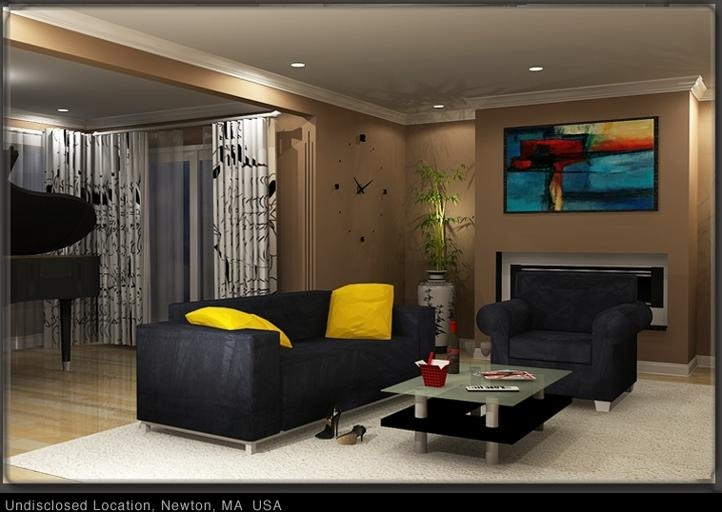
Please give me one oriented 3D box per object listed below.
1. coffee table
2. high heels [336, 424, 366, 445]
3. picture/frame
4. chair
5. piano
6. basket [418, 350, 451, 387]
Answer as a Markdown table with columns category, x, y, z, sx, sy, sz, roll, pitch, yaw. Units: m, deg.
| category | x | y | z | sx | sy | sz | roll | pitch | yaw |
| --- | --- | --- | --- | --- | --- | --- | --- | --- | --- |
| coffee table | 0.755 | 1.116 | 3.761 | 0.915 | 0.374 | 1.183 | -2 | -7 | 25 |
| high heels | -0.067 | 1.264 | 3.790 | 0.093 | 0.082 | 0.233 | -6 | -3 | 33 |
| picture/frame | 2.435 | -1.007 | 5.920 | 1.899 | 0.997 | 0.027 | -4 | 11 | -10 |
| chair | 1.903 | 0.733 | 4.997 | 1.422 | 1.047 | 0.824 | -2 | 8 | 39 |
| piano | -3.232 | 0.058 | 5.632 | 0.781 | 2.345 | 0.882 | -3 | 4 | -28 |
| basket | 0.501 | 0.786 | 3.722 | 0.250 | 0.154 | 0.217 | -2 | -8 | 13 |
